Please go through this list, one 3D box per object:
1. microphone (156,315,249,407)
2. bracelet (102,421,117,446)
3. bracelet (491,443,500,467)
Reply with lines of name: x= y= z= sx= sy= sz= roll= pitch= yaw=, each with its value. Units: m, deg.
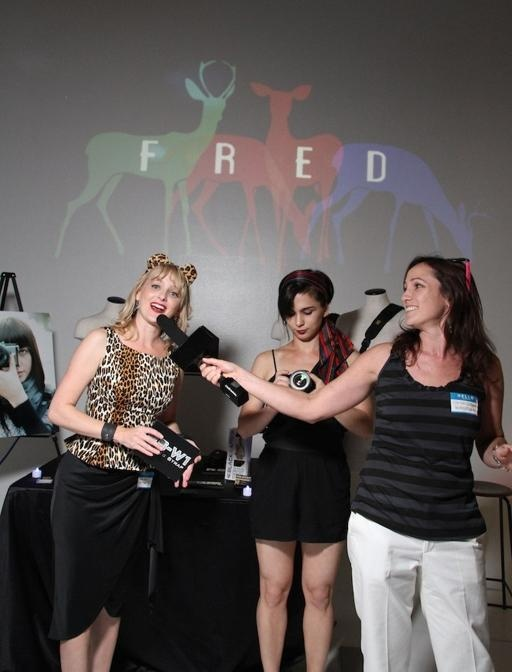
microphone: x=-0.140 y=0.046 z=1.692 sx=0.171 sy=0.346 sz=0.050 roll=-32 pitch=-39 yaw=5
bracelet: x=-0.463 y=0.304 z=1.744 sx=0.048 sy=0.053 sz=0.028 roll=1 pitch=-5 yaw=27
bracelet: x=0.672 y=0.339 z=1.537 sx=0.016 sy=0.046 sz=0.037 roll=-2 pitch=2 yaw=30
